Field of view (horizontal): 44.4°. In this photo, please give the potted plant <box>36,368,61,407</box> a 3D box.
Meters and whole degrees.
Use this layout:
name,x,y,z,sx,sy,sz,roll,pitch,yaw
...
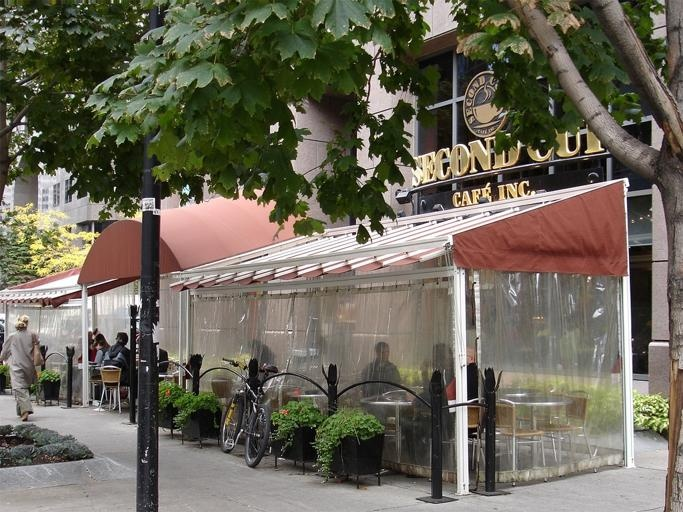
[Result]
name,x,y,z,sx,sy,sz,roll,pitch,yaw
potted plant,-7.604,3.384,21.752,0.570,0.968,0.908,2,-4,-25

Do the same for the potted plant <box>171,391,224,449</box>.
name,x,y,z,sx,sy,sz,roll,pitch,yaw
potted plant,-2.784,2.926,15.330,0.989,1.070,0.868,-12,2,-14

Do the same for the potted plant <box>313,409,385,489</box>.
name,x,y,z,sx,sy,sz,roll,pitch,yaw
potted plant,0.165,2.746,12.290,0.776,1.013,1.049,0,-13,-29

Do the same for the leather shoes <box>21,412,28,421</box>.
name,x,y,z,sx,sy,sz,roll,pitch,yaw
leather shoes,-6.721,3.396,17.714,0.125,0.105,0.233,1,-1,-16

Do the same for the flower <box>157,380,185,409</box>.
name,x,y,z,sx,sy,sz,roll,pitch,yaw
flower,-3.171,2.551,15.429,0.486,0.500,0.511,2,-2,35

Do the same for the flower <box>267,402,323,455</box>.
name,x,y,z,sx,sy,sz,roll,pitch,yaw
flower,-0.728,2.621,12.890,0.743,0.725,0.766,-6,-12,38

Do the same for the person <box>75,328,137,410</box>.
name,x,y,z,sx,sy,sz,roll,pitch,yaw
person,-5.524,2.641,20.081,0.819,1.536,2.521,-1,6,-17
